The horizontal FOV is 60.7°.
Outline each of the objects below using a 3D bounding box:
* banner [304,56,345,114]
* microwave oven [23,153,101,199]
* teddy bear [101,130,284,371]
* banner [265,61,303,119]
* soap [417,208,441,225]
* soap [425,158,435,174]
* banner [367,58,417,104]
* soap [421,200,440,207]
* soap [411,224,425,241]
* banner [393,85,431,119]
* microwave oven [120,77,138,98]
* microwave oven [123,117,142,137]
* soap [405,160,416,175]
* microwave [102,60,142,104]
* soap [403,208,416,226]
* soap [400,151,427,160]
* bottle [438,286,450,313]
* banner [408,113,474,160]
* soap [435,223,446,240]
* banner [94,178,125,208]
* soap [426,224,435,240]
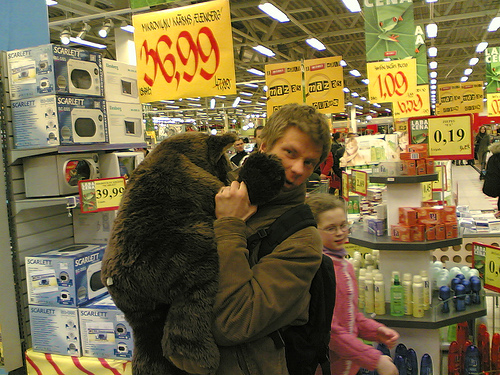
[{"bbox_3d":[1.547,-2.138,8.983,0.793,1.288,0.530,-2,-3,8],"label":"banner"},{"bbox_3d":[-1.645,-0.123,3.796,0.381,0.361,0.588,-2,7,12],"label":"microwave oven"},{"bbox_3d":[-0.299,0.232,1.698,0.556,0.938,0.272,-1,-3,-19],"label":"teddy bear"},{"bbox_3d":[0.719,-2.143,9.206,0.813,1.147,0.499,-2,-3,10],"label":"banner"},{"bbox_3d":[1.591,0.265,3.780,0.157,0.114,0.154,0,5,12],"label":"soap"},{"bbox_3d":[1.655,-0.189,3.908,0.115,0.138,0.048,0,-3,-33],"label":"soap"},{"bbox_3d":[3.095,-2.288,9.285,1.130,0.893,0.008,-8,8,-8],"label":"banner"},{"bbox_3d":[1.691,0.155,4.047,0.091,0.061,0.089,-3,6,-3],"label":"soap"},{"bbox_3d":[1.495,0.407,3.791,0.115,0.139,0.044,-3,-3,29],"label":"soap"},{"bbox_3d":[3.939,-2.086,10.460,0.024,0.782,1.125,-8,9,-27],"label":"banner"},{"bbox_3d":[-1.241,-0.997,4.296,0.160,0.223,0.229,2,4,28],"label":"microwave oven"},{"bbox_3d":[-1.172,-0.593,4.272,0.231,0.210,0.160,0,1,-40],"label":"microwave oven"},{"bbox_3d":[1.450,-0.174,3.862,0.084,0.133,0.037,-3,-3,19],"label":"soap"},{"bbox_3d":[-1.264,-0.997,4.139,0.298,0.369,0.548,-2,3,18],"label":"microwave"},{"bbox_3d":[1.436,0.271,3.833,0.104,0.148,0.060,-3,-3,19],"label":"soap"},{"bbox_3d":[1.528,-0.288,3.938,0.267,0.083,0.117,-1,-3,-4],"label":"soap"},{"bbox_3d":[1.717,0.986,3.762,0.096,0.202,0.224,-3,-3,23],"label":"bottle"},{"bbox_3d":[2.781,-0.731,6.247,0.955,0.668,0.098,-3,5,3],"label":"banner"},{"bbox_3d":[1.687,0.395,3.768,0.094,0.137,0.027,-2,-3,1],"label":"soap"},{"bbox_3d":[-1.202,0.056,3.595,0.364,0.256,0.035,-4,-2,14],"label":"banner"},{"bbox_3d":[1.601,0.393,3.775,0.075,0.133,0.024,-1,-3,-7],"label":"soap"}]
